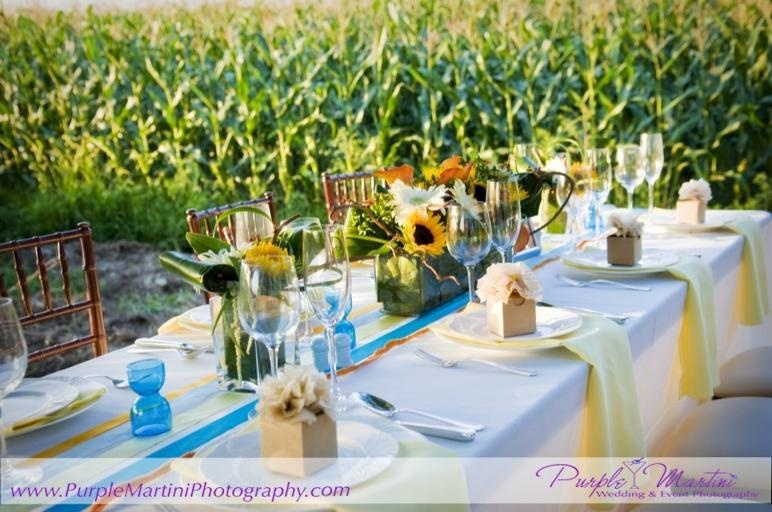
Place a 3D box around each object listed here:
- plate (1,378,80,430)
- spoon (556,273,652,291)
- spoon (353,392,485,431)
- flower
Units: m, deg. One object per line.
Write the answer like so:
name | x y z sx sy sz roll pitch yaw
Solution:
plate | -0.766 0.304 1.383 0.198 0.090 0.126 -1 7 -22
spoon | 0.653 0.082 1.822 0.234 0.034 0.026 3 23 29
spoon | 0.065 0.317 1.237 0.269 0.040 0.064 7 5 13
flower | 0.022 -0.059 1.692 0.958 0.364 0.658 -19 16 -40
